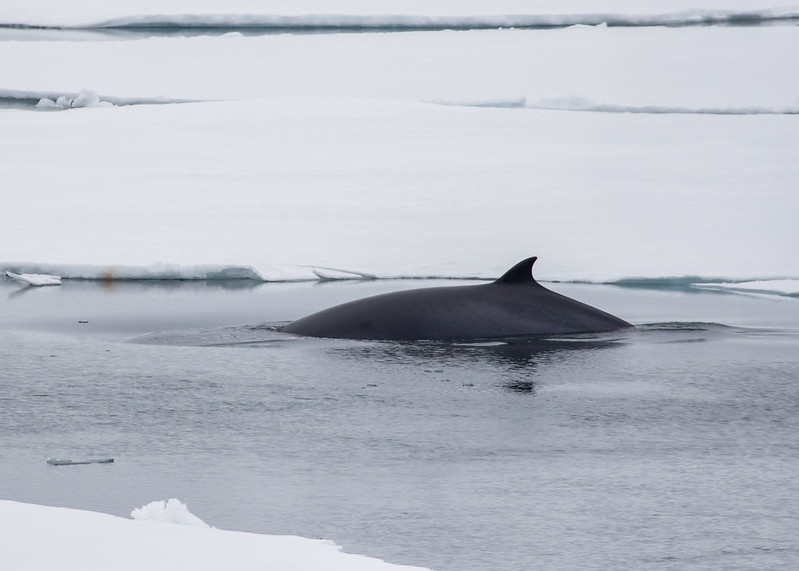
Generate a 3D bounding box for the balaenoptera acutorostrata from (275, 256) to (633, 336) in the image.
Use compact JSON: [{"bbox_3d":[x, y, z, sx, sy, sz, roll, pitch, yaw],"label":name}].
[{"bbox_3d":[0.869,0.286,21.137,6.374,0.839,1.538,1,-5,-12],"label":"balaenoptera acutorostrata"}]
